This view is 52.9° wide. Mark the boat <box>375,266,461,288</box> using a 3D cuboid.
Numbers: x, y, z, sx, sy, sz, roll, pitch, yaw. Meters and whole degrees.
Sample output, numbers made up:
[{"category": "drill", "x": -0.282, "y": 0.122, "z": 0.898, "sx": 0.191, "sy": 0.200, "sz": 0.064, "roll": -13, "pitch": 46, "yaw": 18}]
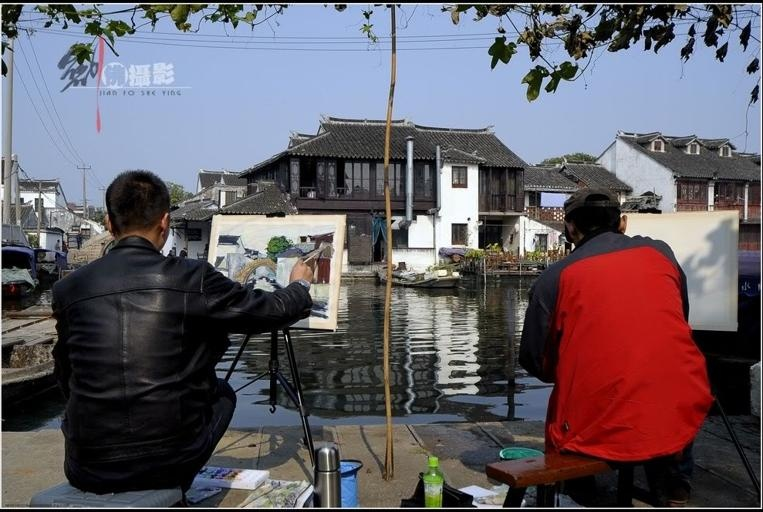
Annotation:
[{"category": "boat", "x": 1.246, "y": 0.820, "z": 26.784, "sx": 1.041, "sy": 0.707, "sz": 3.395, "roll": 2, "pitch": 0, "yaw": -31}]

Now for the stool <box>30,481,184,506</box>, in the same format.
[{"category": "stool", "x": -1.710, "y": 1.564, "z": 4.835, "sx": 0.891, "sy": 0.165, "sz": 0.302, "roll": 0, "pitch": 2, "yaw": -6}]

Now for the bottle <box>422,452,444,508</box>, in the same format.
[{"category": "bottle", "x": 0.356, "y": 1.540, "z": 5.236, "sx": 0.135, "sy": 0.342, "sz": 0.328, "roll": 1, "pitch": 2, "yaw": 5}]

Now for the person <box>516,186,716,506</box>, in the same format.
[{"category": "person", "x": 1.578, "y": 0.679, "z": 5.259, "sx": 1.259, "sy": 2.283, "sz": 0.606, "roll": 1, "pitch": 2, "yaw": 9}]
